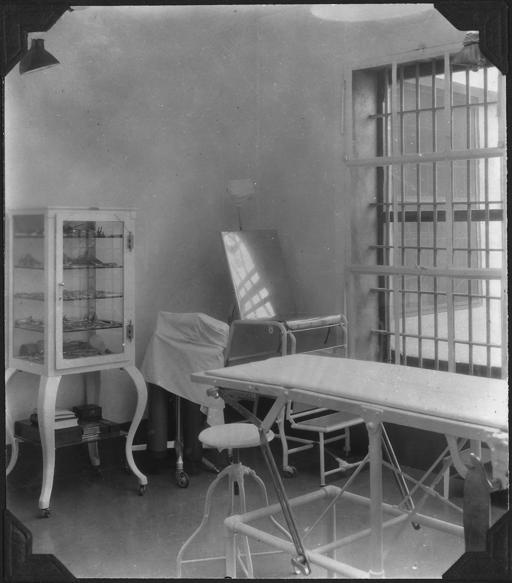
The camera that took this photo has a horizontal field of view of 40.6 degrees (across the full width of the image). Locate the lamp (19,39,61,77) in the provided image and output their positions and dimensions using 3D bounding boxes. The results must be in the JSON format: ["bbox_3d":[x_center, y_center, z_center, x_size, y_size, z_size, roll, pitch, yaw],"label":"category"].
[{"bbox_3d":[-0.706,-0.762,2.276,0.102,0.095,0.118,-10,18,2],"label":"lamp"}]

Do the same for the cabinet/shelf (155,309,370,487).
[{"bbox_3d":[0.028,0.334,2.449,0.690,0.665,0.395,-1,0,35],"label":"cabinet/shelf"}]

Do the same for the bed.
[{"bbox_3d":[0.316,0.555,2.079,0.902,0.607,0.562,2,1,36],"label":"bed"}]
